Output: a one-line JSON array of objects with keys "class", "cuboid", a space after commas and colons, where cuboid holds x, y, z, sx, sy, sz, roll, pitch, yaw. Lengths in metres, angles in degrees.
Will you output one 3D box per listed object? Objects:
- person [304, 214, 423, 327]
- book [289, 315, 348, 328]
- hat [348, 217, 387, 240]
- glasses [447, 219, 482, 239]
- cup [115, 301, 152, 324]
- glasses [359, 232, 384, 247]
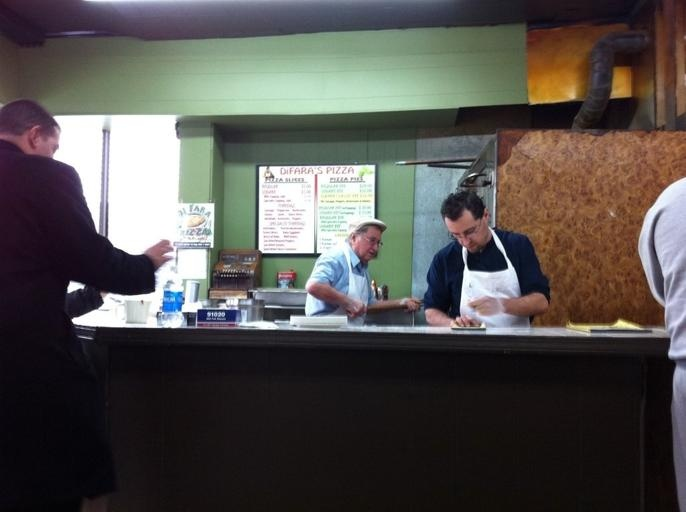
[{"class": "person", "cuboid": [0.079, 0.091, 4.735, 0.534, 0.709, 0.817, 2, 6, 42]}, {"class": "book", "cuboid": [-0.134, 0.359, 3.545, 0.307, 0.058, 0.125, -2, 5, -3]}, {"class": "hat", "cuboid": [0.144, -0.211, 4.760, 0.194, 0.080, 0.179, -1, -6, 33]}, {"class": "glasses", "cuboid": [0.762, -0.163, 4.105, 0.219, 0.141, 0.121, 0, 4, 15]}, {"class": "cup", "cuboid": [-1.196, 0.320, 3.735, 0.192, 0.134, 0.129, -1, 0, -12]}, {"class": "glasses", "cuboid": [0.187, -0.111, 4.778, 0.098, 0.028, 0.102, 8, 21, -49]}]
